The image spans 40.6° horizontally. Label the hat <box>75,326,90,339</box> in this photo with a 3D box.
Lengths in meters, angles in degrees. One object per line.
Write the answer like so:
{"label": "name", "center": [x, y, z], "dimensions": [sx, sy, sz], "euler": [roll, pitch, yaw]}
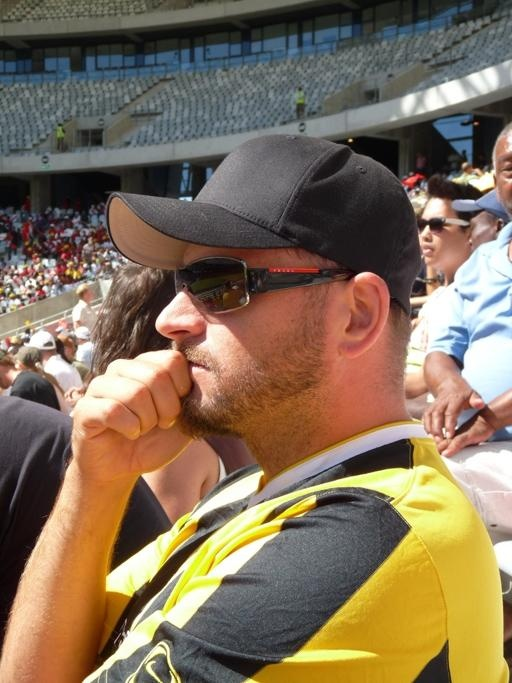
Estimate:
{"label": "hat", "center": [-2.688, -0.148, 10.730], "dimensions": [0.218, 0.124, 0.271], "euler": [-4, 28, -39]}

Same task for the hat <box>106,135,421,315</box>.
{"label": "hat", "center": [0.039, -0.222, 1.283], "dimensions": [0.598, 0.255, 0.347], "euler": [6, -4, -7]}
